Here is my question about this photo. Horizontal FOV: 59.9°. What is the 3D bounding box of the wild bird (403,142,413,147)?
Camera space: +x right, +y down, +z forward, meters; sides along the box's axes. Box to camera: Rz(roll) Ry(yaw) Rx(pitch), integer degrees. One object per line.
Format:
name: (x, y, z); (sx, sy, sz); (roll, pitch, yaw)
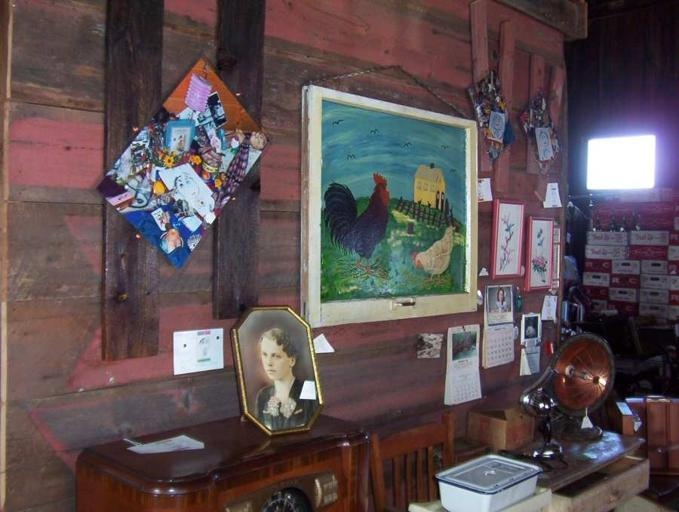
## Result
wild bird: (0.299, -0.493, 2.616); (0.047, 0.024, 0.022); (-6, 6, -37)

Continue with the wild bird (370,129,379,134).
wild bird: (0.145, -0.530, 2.501); (0.014, 0.021, 0.040); (15, 18, 41)

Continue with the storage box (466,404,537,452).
storage box: (0.871, 0.883, 2.980); (0.353, 0.237, 0.258); (13, -3, -25)

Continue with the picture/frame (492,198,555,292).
picture/frame: (0.986, -0.058, 3.226); (0.036, 0.385, 0.505); (1, -1, 43)
